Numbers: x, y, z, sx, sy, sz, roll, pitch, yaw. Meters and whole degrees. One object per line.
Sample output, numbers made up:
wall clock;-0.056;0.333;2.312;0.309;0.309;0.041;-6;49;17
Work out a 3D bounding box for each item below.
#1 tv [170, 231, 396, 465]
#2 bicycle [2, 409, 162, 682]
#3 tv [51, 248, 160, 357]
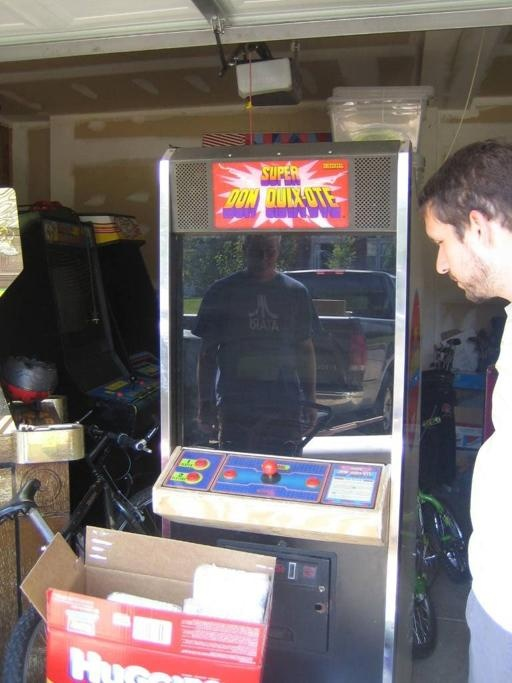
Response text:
tv;0.090;0.025;1.608;0.440;0.734;0.336;4;9;13
bicycle;-0.690;0.719;2.217;0.387;0.537;0.811;1;13;33
tv;-0.918;-0.295;4.115;0.201;0.829;0.403;7;17;31
